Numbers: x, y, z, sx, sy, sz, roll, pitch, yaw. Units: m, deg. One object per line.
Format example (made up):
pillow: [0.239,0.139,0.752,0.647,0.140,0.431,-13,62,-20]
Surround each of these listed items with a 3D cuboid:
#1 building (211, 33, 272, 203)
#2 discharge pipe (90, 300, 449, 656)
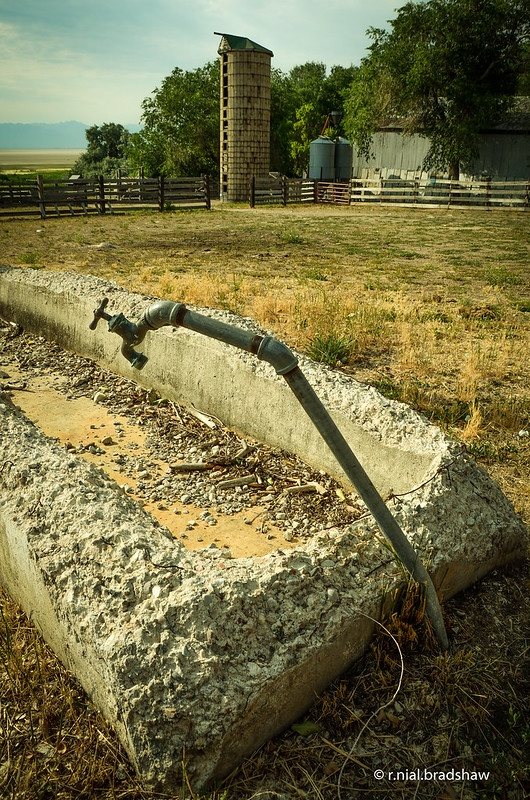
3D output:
building: [-1.005,-13.638,31.028,2.430,7.531,1.545,0,14,3]
discharge pipe: [-0.055,0.184,2.320,1.151,0.127,1.524,7,41,-23]
